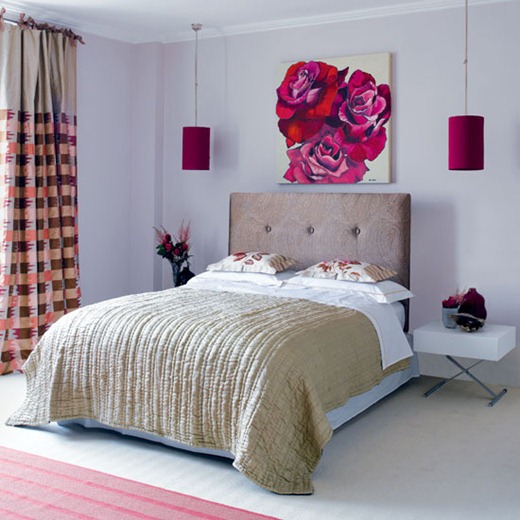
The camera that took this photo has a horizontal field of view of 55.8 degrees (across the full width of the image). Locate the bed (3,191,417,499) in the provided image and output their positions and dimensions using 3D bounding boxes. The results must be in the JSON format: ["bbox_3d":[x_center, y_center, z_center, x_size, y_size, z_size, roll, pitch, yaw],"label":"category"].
[{"bbox_3d":[0.070,0.388,2.887,1.697,1.110,1.872,5,9,31],"label":"bed"}]

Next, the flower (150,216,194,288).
[{"bbox_3d":[-0.741,0.000,4.264,0.275,0.532,0.248,6,6,10],"label":"flower"}]

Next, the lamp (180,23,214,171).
[{"bbox_3d":[-0.552,-1.402,4.325,0.256,1.248,0.388,1,1,-9],"label":"lamp"}]

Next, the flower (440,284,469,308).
[{"bbox_3d":[1.264,0.252,3.182,0.169,0.069,0.168,-9,12,29],"label":"flower"}]

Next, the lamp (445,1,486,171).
[{"bbox_3d":[1.403,-1.199,3.335,0.239,1.190,0.303,2,1,20],"label":"lamp"}]
